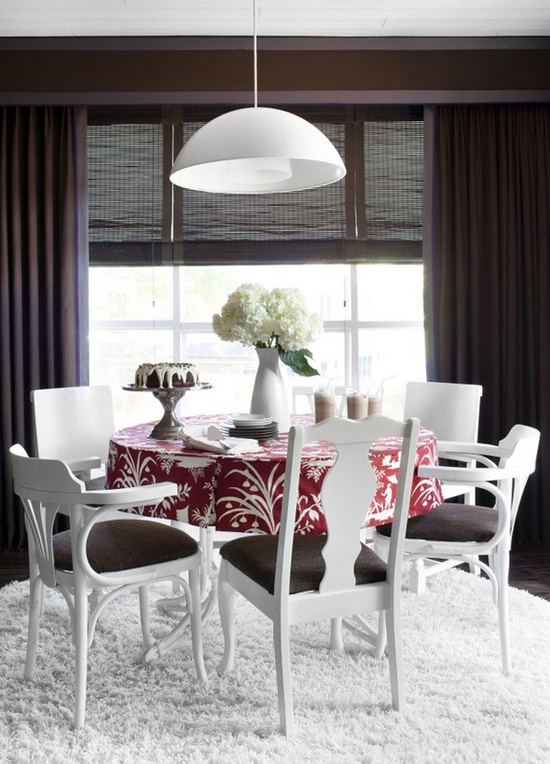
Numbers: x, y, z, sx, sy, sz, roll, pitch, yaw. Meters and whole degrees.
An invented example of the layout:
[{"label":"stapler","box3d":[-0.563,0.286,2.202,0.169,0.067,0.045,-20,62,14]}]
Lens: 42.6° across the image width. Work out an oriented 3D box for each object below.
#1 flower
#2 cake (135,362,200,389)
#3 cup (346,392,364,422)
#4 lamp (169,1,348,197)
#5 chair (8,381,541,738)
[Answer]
[{"label":"flower","box3d":[-0.020,-0.145,2.492,0.368,0.379,0.354,9,-1,4]},{"label":"cake","box3d":[-0.363,-0.021,2.371,0.209,0.078,0.204,-1,4,-11]},{"label":"cup","box3d":[0.270,0.079,2.358,0.077,0.113,0.078,0,-3,0]},{"label":"lamp","box3d":[0.008,-0.811,2.331,0.605,0.673,0.655,-1,3,-4]},{"label":"chair","box3d":[0.003,0.536,2.755,1.263,0.846,1.285,1,-1,-2]}]
